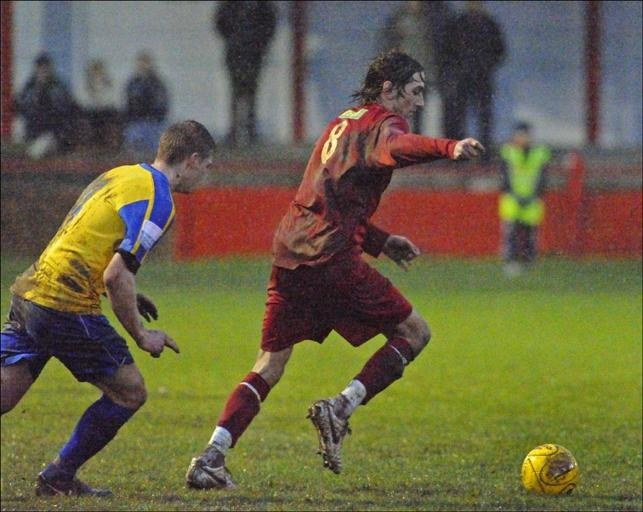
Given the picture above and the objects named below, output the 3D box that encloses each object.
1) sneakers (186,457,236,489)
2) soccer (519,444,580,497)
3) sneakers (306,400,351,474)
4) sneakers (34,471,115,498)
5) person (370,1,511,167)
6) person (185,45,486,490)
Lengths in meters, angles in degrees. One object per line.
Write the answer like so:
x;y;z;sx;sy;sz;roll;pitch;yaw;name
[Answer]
-0.679;1.349;7.752;0.233;0.159;0.184;5;-12;-9;sneakers
1.450;1.348;7.937;0.351;0.287;0.197;3;9;9;soccer
0.053;1.113;7.691;0.280;0.534;0.182;-1;9;-17;sneakers
-1.538;1.428;7.886;0.503;0.207;0.173;1;-1;-11;sneakers
1.085;-1.206;9.729;0.828;1.417;0.362;3;24;15;person
0.057;0.247;7.787;1.473;2.348;0.656;1;9;-2;person
